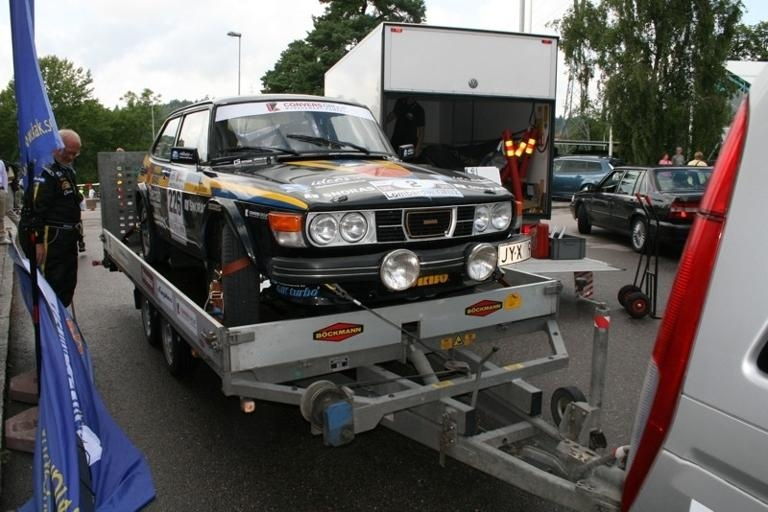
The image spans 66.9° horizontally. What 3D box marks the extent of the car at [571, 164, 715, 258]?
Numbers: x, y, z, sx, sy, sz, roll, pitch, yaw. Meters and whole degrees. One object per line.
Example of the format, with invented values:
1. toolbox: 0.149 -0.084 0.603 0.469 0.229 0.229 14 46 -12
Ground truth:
1. car: 5.095 -0.890 11.564 1.600 1.204 3.391 -1 14 -11
